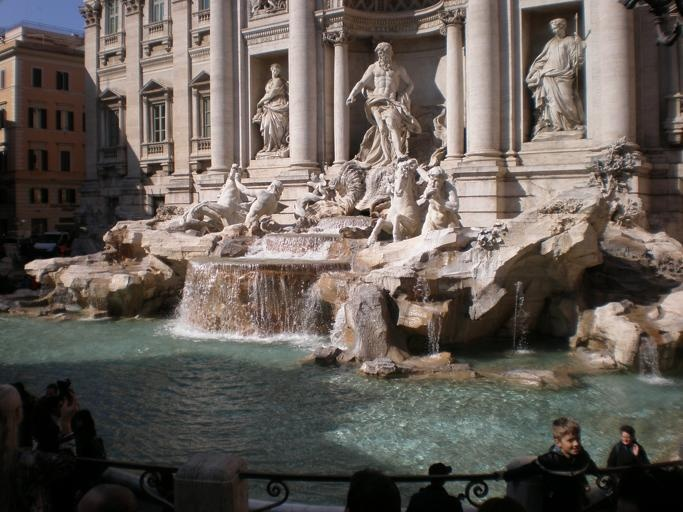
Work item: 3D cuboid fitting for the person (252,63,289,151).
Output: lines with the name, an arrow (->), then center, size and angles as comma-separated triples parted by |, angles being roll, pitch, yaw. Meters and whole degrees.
person -> -2.320, -4.956, 22.032 | 1.336, 2.993, 0.916 | 0, 10, 11

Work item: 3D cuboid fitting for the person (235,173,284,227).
person -> -2.449, -1.660, 19.571 | 1.340, 0.838, 1.845 | 1, 31, 20

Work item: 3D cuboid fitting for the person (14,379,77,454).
person -> -2.735, 1.498, 6.017 | 0.469, 0.446, 1.356 | 20, -19, -21

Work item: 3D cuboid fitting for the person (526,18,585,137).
person -> 5.750, -4.713, 17.333 | 1.392, 3.073, 0.556 | 1, 10, 18
